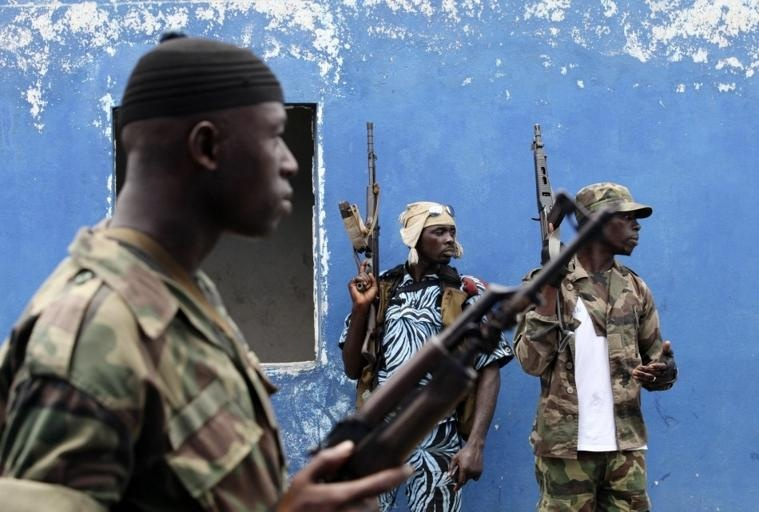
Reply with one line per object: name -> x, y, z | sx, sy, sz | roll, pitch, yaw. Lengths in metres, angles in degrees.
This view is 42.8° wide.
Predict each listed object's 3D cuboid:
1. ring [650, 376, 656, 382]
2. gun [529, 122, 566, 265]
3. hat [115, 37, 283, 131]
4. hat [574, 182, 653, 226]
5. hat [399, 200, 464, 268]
ring -> 1.879, 0.835, 6.622 | 0.034, 0.044, 0.071 | 1, -4, 16
gun -> 1.162, -0.410, 6.766 | 0.366, 1.154, 0.119 | -2, -7, 5
hat -> -0.873, -0.817, 4.749 | 0.812, 0.526, 0.550 | 5, 8, 15
hat -> 1.736, -0.410, 7.212 | 0.584, 0.299, 0.418 | -6, -4, 34
hat -> 0.373, -0.206, 7.573 | 0.451, 0.517, 0.501 | -5, 0, -36
